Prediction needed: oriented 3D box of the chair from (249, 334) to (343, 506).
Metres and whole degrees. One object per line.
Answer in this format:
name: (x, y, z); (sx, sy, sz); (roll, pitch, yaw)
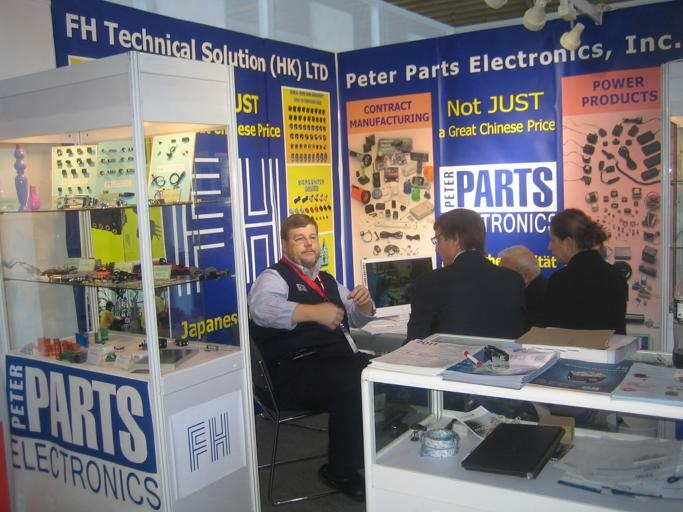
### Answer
chair: (-0.380, 0.972, 3.951); (0.537, 1.198, 1.073); (-5, 14, -5)

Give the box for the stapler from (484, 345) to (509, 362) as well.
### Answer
stapler: (0.579, 0.358, 2.085); (0.043, 0.031, 0.058); (-2, 6, -34)

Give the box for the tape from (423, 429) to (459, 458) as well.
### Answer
tape: (0.394, 0.748, 2.256); (0.093, 0.042, 0.118); (2, 6, 18)
